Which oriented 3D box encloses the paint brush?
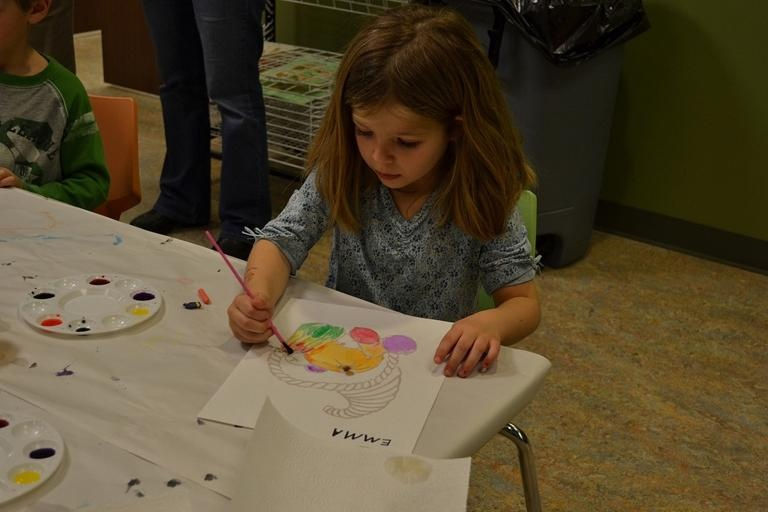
[{"bbox_3d":[-0.250,0.072,1.097,0.032,0.016,0.306,-37,65,-13],"label":"paint brush"}]

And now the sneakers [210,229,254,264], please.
[{"bbox_3d":[-0.606,-0.050,2.317,0.188,0.065,0.192,3,39,2],"label":"sneakers"}]
